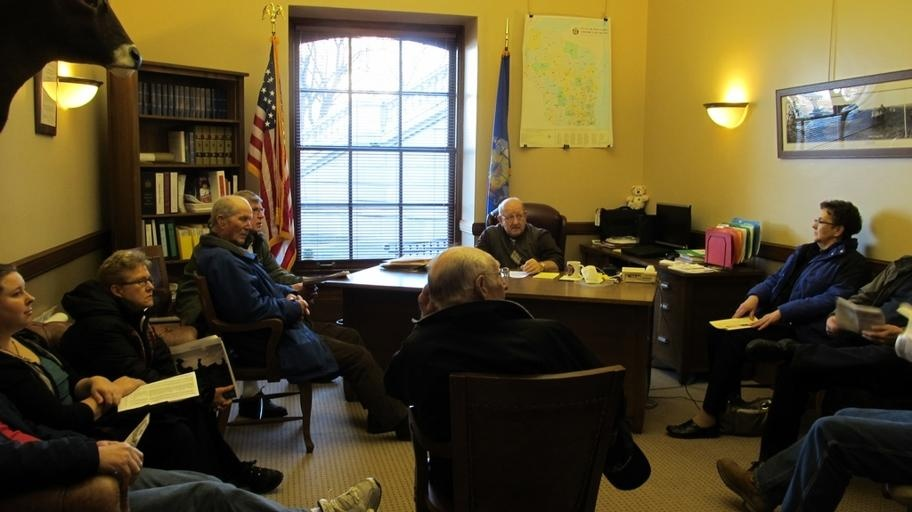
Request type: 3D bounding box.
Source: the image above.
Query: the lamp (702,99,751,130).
[{"bbox_3d":[2.675,-1.407,6.246,0.251,0.260,0.414,-8,11,-32],"label":"lamp"}]

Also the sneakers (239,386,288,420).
[{"bbox_3d":[-1.548,1.234,5.239,0.597,0.251,0.198,1,4,-7],"label":"sneakers"}]

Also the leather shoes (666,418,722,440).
[{"bbox_3d":[1.901,1.394,5.035,0.420,0.152,0.161,2,-1,0],"label":"leather shoes"}]

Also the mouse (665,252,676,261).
[{"bbox_3d":[2.226,-0.002,6.459,0.092,0.093,0.026,1,-20,22],"label":"mouse"}]

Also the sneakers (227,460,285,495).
[{"bbox_3d":[-1.394,1.545,4.430,0.428,0.185,0.152,3,16,-21],"label":"sneakers"}]

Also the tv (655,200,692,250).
[{"bbox_3d":[2.348,-0.326,6.719,0.056,0.481,0.504,0,5,-22],"label":"tv"}]

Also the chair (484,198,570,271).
[{"bbox_3d":[0.624,-0.184,6.044,0.614,0.583,0.795,-12,-1,-2],"label":"chair"}]

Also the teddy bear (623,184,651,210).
[{"bbox_3d":[2.137,-0.697,7.384,0.309,0.311,0.179,1,-11,24],"label":"teddy bear"}]

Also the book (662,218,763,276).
[{"bbox_3d":[2.543,-0.110,6.011,0.494,0.384,0.650,-4,5,-22],"label":"book"}]

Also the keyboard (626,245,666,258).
[{"bbox_3d":[2.003,-0.048,6.571,0.212,0.053,0.225,-2,10,-12],"label":"keyboard"}]

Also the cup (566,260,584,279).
[{"bbox_3d":[1.029,0.122,5.512,0.169,0.120,0.111,3,3,26],"label":"cup"}]
